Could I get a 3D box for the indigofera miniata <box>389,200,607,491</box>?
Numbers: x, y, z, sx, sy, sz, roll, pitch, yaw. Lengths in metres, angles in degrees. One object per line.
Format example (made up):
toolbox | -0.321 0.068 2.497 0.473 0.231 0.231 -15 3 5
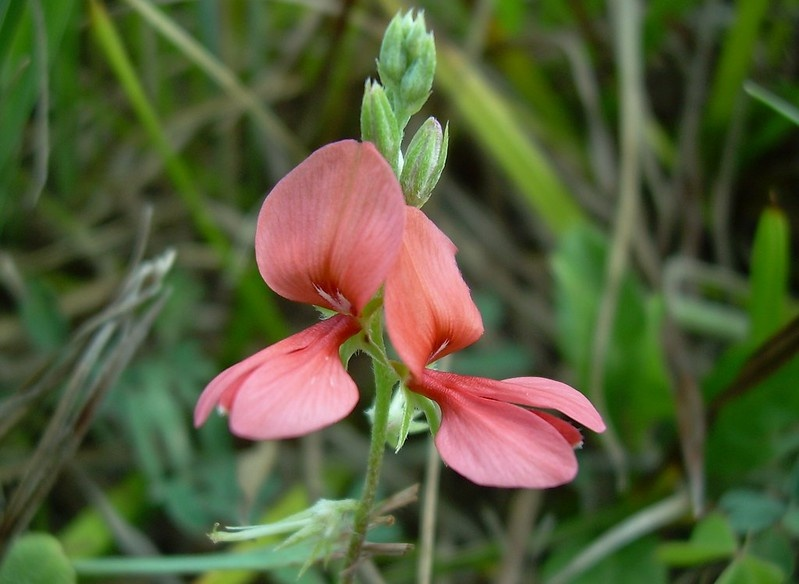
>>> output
indigofera miniata | 0.125 0.073 1.138 0.340 0.324 0.250 14 25 36
